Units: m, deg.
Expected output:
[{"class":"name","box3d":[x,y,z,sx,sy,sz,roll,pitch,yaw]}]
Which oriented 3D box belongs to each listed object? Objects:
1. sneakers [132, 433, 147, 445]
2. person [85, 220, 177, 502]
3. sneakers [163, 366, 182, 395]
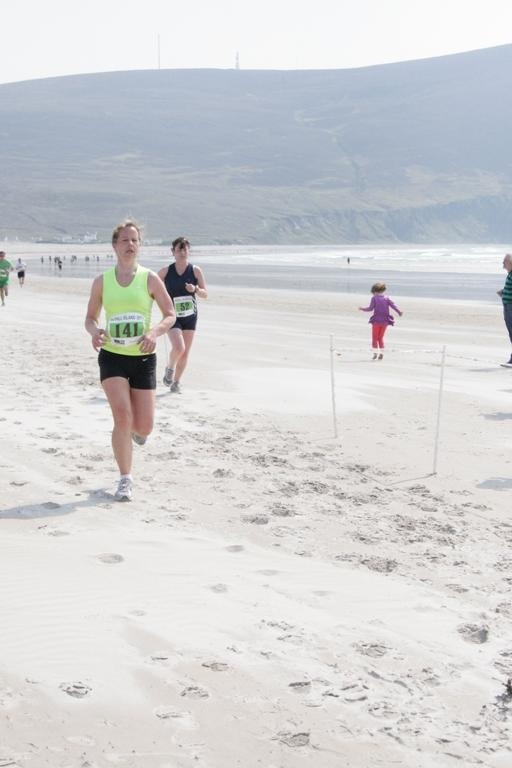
[{"class":"sneakers","box3d":[-0.754,0.355,5.729,0.066,0.073,0.184,3,-10,-4]},{"class":"person","box3d":[-0.764,-0.138,5.355,0.538,1.634,0.786,1,5,-9]},{"class":"sneakers","box3d":[-0.848,-0.040,9.404,0.124,0.223,0.357,-6,21,-37]}]
